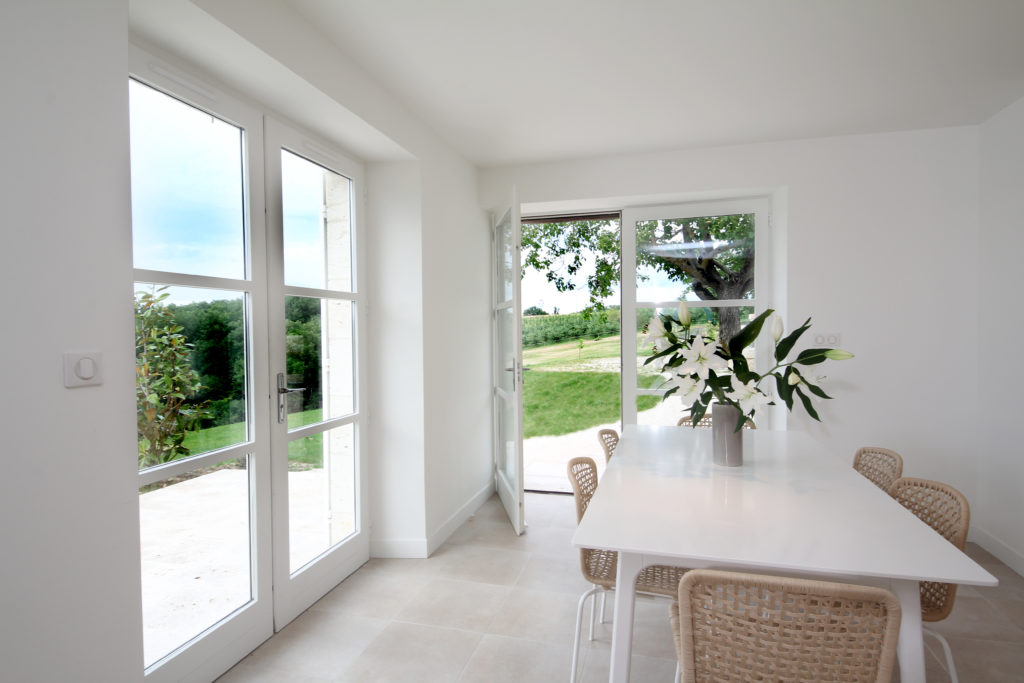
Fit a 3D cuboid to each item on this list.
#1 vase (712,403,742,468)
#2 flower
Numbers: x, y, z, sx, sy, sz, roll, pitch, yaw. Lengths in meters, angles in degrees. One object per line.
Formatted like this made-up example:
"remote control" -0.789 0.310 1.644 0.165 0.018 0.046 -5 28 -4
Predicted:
"vase" 1.108 0.466 3.271 0.194 0.308 0.193 -1 -2 36
"flower" 1.228 0.139 3.229 0.811 0.481 0.901 -17 11 -41
